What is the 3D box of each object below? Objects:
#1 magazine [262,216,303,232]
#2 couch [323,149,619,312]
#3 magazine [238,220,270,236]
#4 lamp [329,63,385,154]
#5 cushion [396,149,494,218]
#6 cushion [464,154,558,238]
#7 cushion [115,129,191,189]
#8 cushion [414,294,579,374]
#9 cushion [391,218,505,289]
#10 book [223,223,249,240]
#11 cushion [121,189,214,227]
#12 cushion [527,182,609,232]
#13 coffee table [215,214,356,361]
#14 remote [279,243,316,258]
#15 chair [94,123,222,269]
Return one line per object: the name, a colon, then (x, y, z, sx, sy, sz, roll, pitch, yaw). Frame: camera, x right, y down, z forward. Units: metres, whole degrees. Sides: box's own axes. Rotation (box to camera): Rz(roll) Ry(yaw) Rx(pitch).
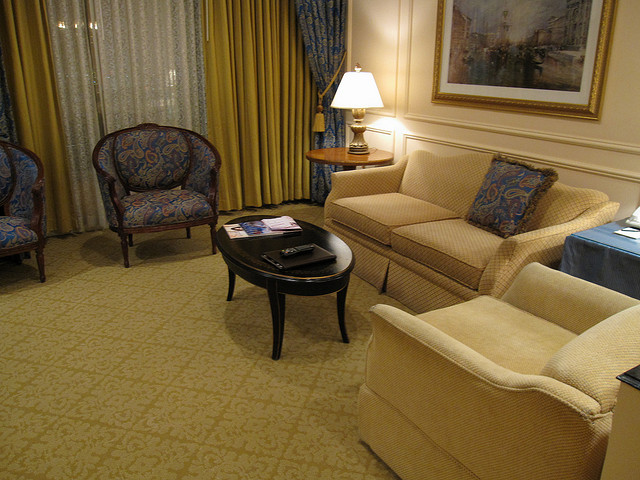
magazine: (-0.265, -0.099, 3.099, 0.168, 0.019, 0.153, -5, 23, -15)
couch: (0.924, -0.131, 3.310, 1.065, 0.872, 1.882, -17, 27, -21)
magazine: (-0.440, -0.078, 3.061, 0.130, 0.008, 0.178, -7, 21, -22)
lamp: (0.317, -1.181, 4.192, 0.449, 0.779, 0.386, 2, 29, 0)
cushion: (0.944, -0.461, 3.512, 0.205, 0.535, 0.696, 12, 10, -45)
cushion: (1.223, -0.273, 2.939, 0.174, 0.514, 0.579, 22, 11, -35)
cushion: (-1.416, -0.672, 3.906, 0.862, 0.568, 0.182, -1, 7, 23)
cushion: (0.771, 0.400, 1.982, 0.376, 0.069, 0.342, -15, 26, -35)
cushion: (0.789, 0.041, 2.862, 0.563, 0.115, 0.497, -14, 31, -34)
book: (-0.562, -0.053, 2.991, 0.116, 0.009, 0.215, -5, 20, -18)
cushion: (-1.331, -0.307, 3.826, 0.773, 0.145, 0.718, -8, 24, -23)
cushion: (1.485, -0.168, 2.797, 0.236, 0.283, 0.313, -19, 33, -34)
coffee table: (-0.226, 0.248, 2.875, 0.766, 0.425, 1.012, -8, 23, -25)
remote: (-0.131, 0.062, 2.651, 0.230, 0.020, 0.075, -7, 18, -31)
chair: (-1.294, -0.408, 3.818, 0.972, 1.017, 0.890, -9, 29, -20)
